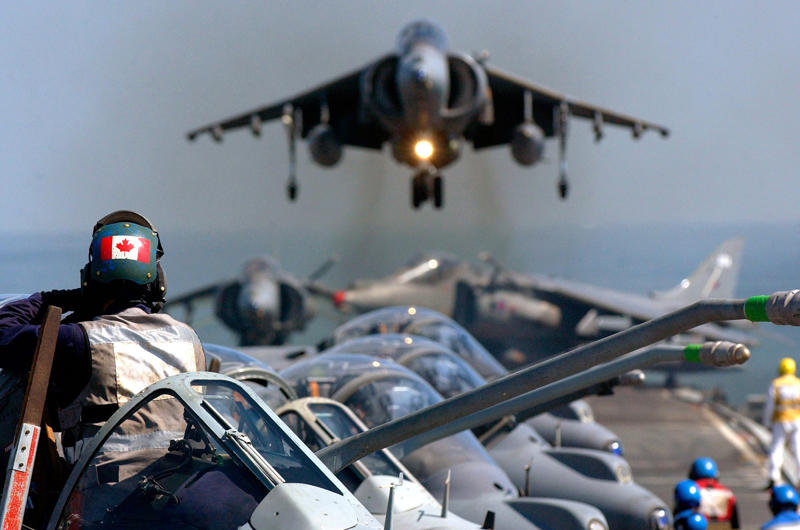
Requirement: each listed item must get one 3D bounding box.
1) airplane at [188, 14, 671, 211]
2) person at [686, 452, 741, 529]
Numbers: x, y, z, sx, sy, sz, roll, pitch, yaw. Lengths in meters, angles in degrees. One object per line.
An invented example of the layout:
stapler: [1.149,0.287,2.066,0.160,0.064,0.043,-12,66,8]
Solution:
airplane: [0.370,-2.351,26.575,5.939,3.080,2.724,2,7,6]
person: [4.159,3.168,22.155,0.698,1.007,0.293,-33,8,-41]
